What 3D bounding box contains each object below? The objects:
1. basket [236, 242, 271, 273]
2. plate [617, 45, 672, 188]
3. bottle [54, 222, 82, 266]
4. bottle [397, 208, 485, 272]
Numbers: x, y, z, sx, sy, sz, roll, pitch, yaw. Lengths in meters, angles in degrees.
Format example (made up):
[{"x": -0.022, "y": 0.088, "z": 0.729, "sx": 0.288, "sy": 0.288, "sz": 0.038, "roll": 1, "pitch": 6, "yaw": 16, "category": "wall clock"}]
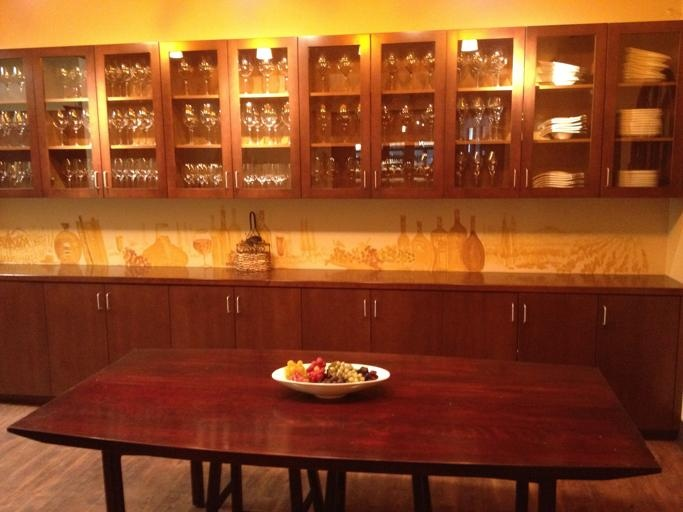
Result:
[{"x": -0.724, "y": 0.012, "z": 4.881, "sx": 0.244, "sy": 0.164, "sz": 0.245, "roll": 1, "pitch": 1, "yaw": 5, "category": "basket"}, {"x": 2.133, "y": -0.961, "z": 4.167, "sx": 0.365, "sy": 0.953, "sz": 0.182, "roll": 1, "pitch": 13, "yaw": 18, "category": "plate"}, {"x": -2.411, "y": -0.110, "z": 5.217, "sx": 0.259, "sy": 0.351, "sz": 0.059, "roll": 0, "pitch": 13, "yaw": 16, "category": "bottle"}, {"x": 0.823, "y": -0.136, "z": 4.764, "sx": 0.490, "sy": 0.352, "sz": 0.113, "roll": 1, "pitch": 11, "yaw": 11, "category": "bottle"}]
